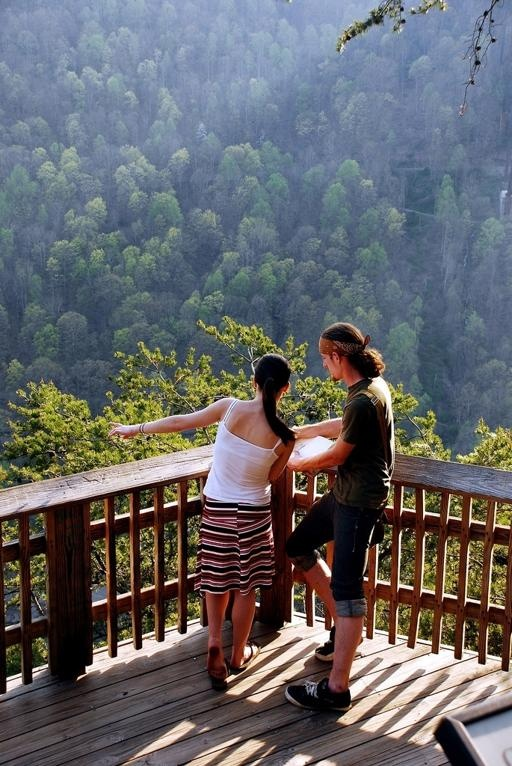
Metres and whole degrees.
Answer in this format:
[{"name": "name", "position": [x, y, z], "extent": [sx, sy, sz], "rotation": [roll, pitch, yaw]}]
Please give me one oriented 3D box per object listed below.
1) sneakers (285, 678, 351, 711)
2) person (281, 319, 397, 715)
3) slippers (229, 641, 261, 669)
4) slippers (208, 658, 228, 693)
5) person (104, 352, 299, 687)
[{"name": "sneakers", "position": [0.184, 0.916, 2.136], "extent": [0.190, 0.102, 0.085], "rotation": [9, 1, 7]}, {"name": "person", "position": [0.253, 0.383, 2.232], "extent": [0.346, 1.133, 0.470], "rotation": [-2, 5, 8]}, {"name": "slippers", "position": [-0.045, 0.896, 2.369], "extent": [0.044, 0.039, 0.115], "rotation": [7, 22, 20]}, {"name": "slippers", "position": [-0.114, 0.909, 2.212], "extent": [0.038, 0.051, 0.109], "rotation": [1, 24, -4]}, {"name": "person", "position": [-0.099, 0.431, 2.252], "extent": [0.457, 1.028, 0.249], "rotation": [-2, 5, 2]}]
